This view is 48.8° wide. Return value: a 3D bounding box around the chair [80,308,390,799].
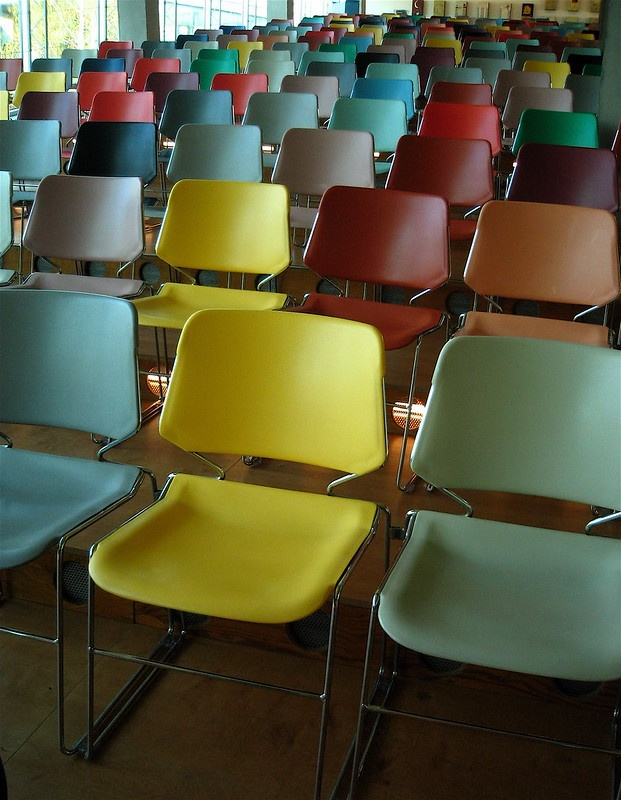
[{"bbox_3d":[-0.161,0.294,1.441,0.642,0.905,0.649,4,16,7],"label":"chair"}]
